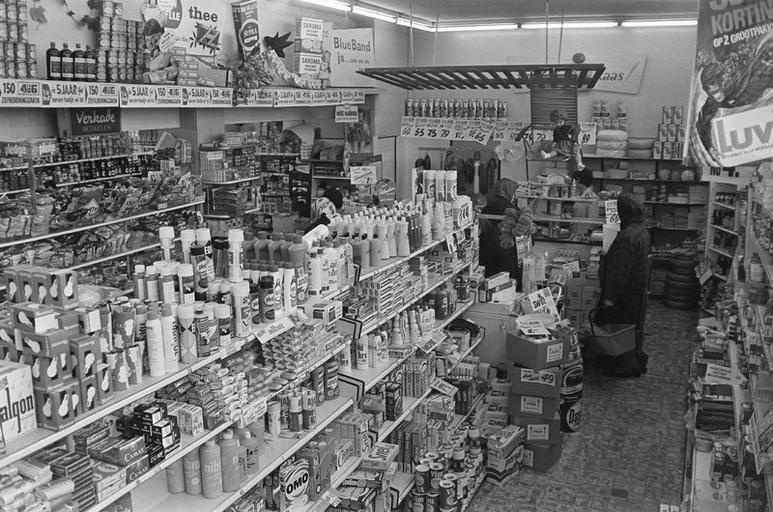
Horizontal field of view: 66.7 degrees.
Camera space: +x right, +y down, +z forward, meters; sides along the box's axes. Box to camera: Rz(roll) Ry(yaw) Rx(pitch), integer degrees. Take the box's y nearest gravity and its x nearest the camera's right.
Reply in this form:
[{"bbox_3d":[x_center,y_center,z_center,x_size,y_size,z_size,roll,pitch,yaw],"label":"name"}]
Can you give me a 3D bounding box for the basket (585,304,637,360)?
[{"bbox_3d":[3.224,1.132,8.691,0.817,0.830,0.535,-19,18,-31],"label":"basket"}]
